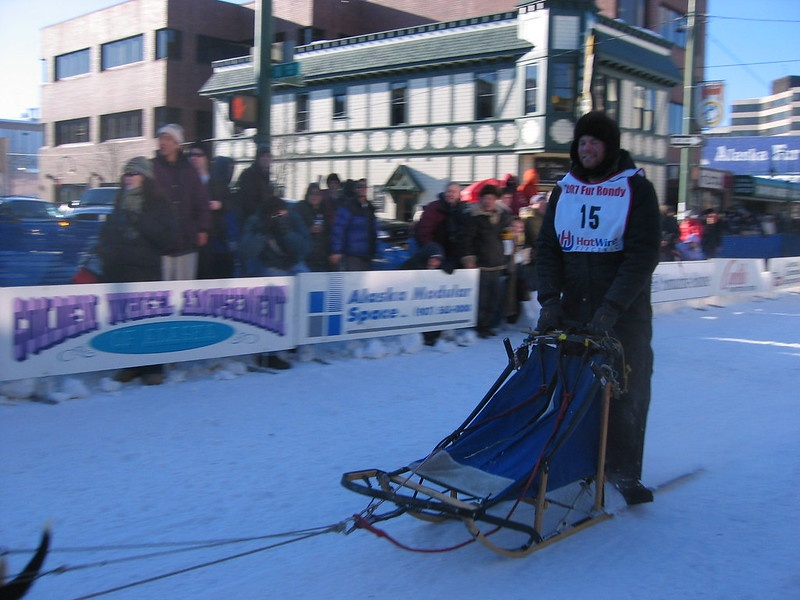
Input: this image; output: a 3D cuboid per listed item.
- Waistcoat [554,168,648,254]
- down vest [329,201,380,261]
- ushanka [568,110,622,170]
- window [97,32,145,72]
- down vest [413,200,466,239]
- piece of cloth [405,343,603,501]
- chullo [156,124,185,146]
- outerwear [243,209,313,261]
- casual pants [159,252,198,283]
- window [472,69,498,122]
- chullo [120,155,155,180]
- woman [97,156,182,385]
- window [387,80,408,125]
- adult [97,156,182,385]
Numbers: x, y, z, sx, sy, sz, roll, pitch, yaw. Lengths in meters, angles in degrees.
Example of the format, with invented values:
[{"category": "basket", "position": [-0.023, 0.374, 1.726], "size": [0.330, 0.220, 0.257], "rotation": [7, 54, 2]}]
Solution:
[{"category": "Waistcoat", "position": [1.462, -0.574, 5.701], "size": [0.464, 0.515, 0.769], "rotation": [1, 3, -31]}, {"category": "down vest", "position": [-0.657, -0.947, 10.505], "size": [0.651, 0.773, 1.067], "rotation": [4, 13, 19]}, {"category": "ushanka", "position": [1.296, -1.069, 5.536], "size": [0.327, 0.392, 0.287], "rotation": [1, 2, 12]}, {"category": "window", "position": [-8.698, -7.658, 25.690], "size": [0.206, 1.541, 3.308], "rotation": [3, 0, -39]}, {"category": "down vest", "position": [0.513, -0.981, 10.448], "size": [0.641, 0.541, 0.183], "rotation": [0, 2, 0]}, {"category": "piece of cloth", "position": [0.675, 0.782, 5.336], "size": [1.268, 0.640, 0.696], "rotation": [-27, 28, -29]}, {"category": "chullo", "position": [-2.277, -1.658, 8.263], "size": [0.250, 0.230, 0.345], "rotation": [0, 1, -14]}, {"category": "outerwear", "position": [-1.459, -0.813, 9.276], "size": [0.788, 0.495, 0.410], "rotation": [-4, 24, -42]}, {"category": "casual pants", "position": [-2.229, -0.325, 8.405], "size": [0.342, 0.305, 0.596], "rotation": [3, 3, 33]}, {"category": "window", "position": [2.478, -5.962, 24.153], "size": [0.740, 1.294, 0.200], "rotation": [1, 2, 38]}, {"category": "chullo", "position": [-2.528, -1.297, 8.007], "size": [0.303, 0.183, 0.213], "rotation": [-2, 4, -40]}, {"category": "woman", "position": [-2.563, -0.763, 8.081], "size": [0.731, 1.180, 0.265], "rotation": [0, 2, -18]}, {"category": "window", "position": [-0.125, -6.196, 26.149], "size": [0.778, 1.341, 0.212], "rotation": [-18, 33, -31]}, {"category": "adult", "position": [-2.563, -0.763, 8.081], "size": [0.731, 1.180, 0.265], "rotation": [0, 2, -18]}]
